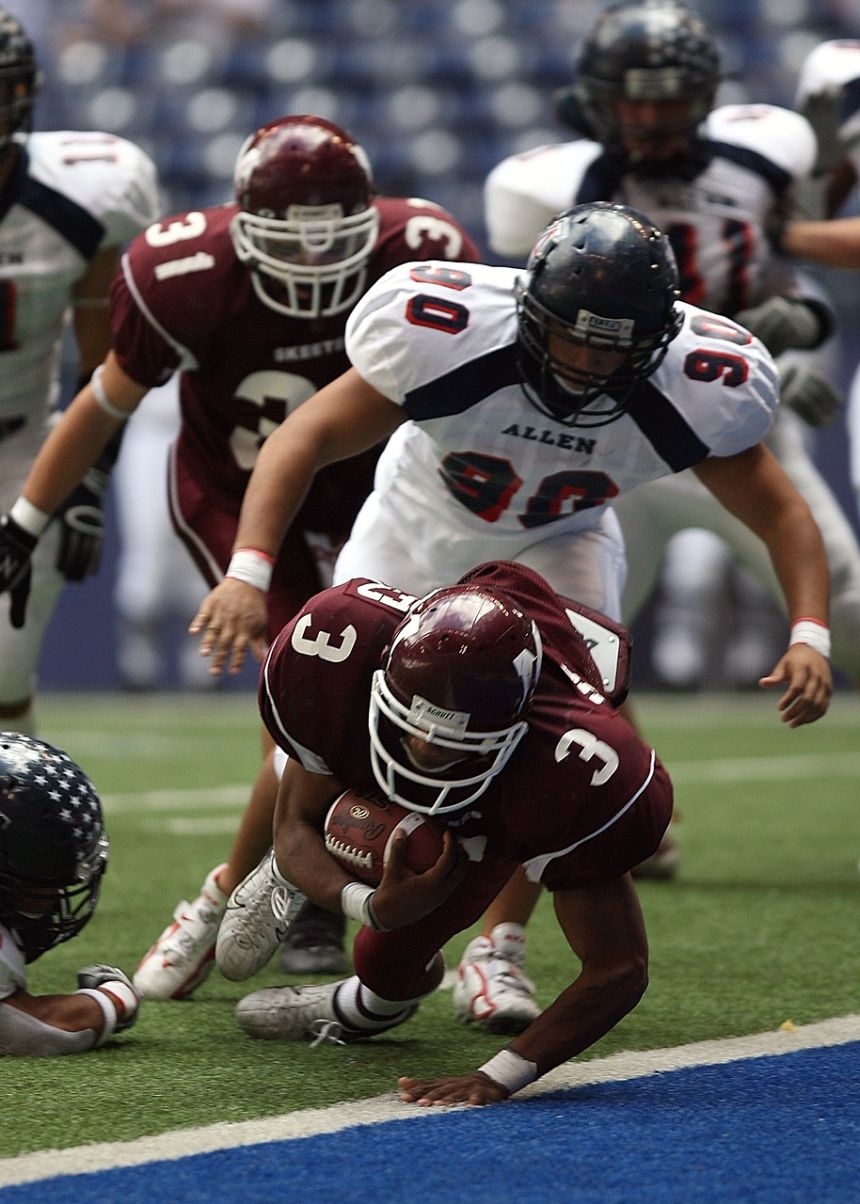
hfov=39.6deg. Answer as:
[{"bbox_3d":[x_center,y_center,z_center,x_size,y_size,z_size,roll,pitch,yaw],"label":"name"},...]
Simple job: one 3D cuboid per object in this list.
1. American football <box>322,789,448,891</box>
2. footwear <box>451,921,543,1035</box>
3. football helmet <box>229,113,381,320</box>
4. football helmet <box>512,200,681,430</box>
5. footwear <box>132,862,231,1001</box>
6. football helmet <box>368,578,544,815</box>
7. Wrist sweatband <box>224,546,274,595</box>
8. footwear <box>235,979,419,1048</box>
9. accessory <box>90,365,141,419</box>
[{"bbox_3d":[-0.062,0.254,1.272,0.071,0.065,0.141,17,-4,-41],"label":"American football"},{"bbox_3d":[0.085,0.516,1.639,0.067,0.083,0.177,12,-7,-9],"label":"footwear"},{"bbox_3d":[-0.230,-0.645,2.028,0.289,0.311,0.264,-4,-34,-10],"label":"football helmet"},{"bbox_3d":[0.192,-0.351,1.482,0.228,0.239,0.228,12,-30,-8],"label":"football helmet"},{"bbox_3d":[-0.336,0.497,1.854,0.079,0.109,0.250,40,30,-8],"label":"footwear"},{"bbox_3d":[0.019,0.095,1.182,0.165,0.230,0.121,3,-6,4],"label":"football helmet"},{"bbox_3d":[-0.213,-0.035,1.523,0.063,0.054,0.053,29,-4,5],"label":"Wrist sweatband"},{"bbox_3d":[-0.097,0.515,1.531,0.278,0.079,0.100,-3,11,3],"label":"footwear"},{"bbox_3d":[-0.522,-0.349,1.967,0.086,0.088,0.038,-20,-5,1],"label":"accessory"}]
